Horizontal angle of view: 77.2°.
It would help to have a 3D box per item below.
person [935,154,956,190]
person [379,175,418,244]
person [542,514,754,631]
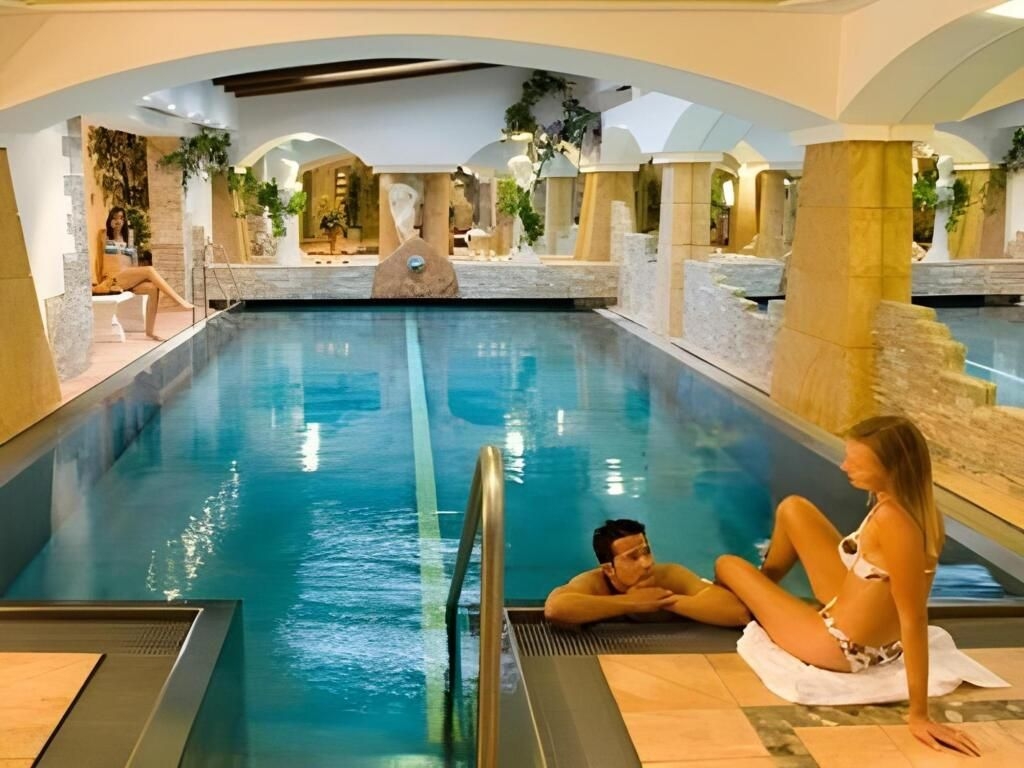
[{"bbox_3d":[10.330,-5.075,15.353,0.503,0.830,0.279,-2,6,-10],"label":"person"},{"bbox_3d":[-2.750,-4.345,15.734,0.842,1.722,0.909,-2,6,-11],"label":"person"},{"bbox_3d":[0.536,0.890,2.891,0.849,0.477,0.505,0,-21,-7],"label":"person"}]
